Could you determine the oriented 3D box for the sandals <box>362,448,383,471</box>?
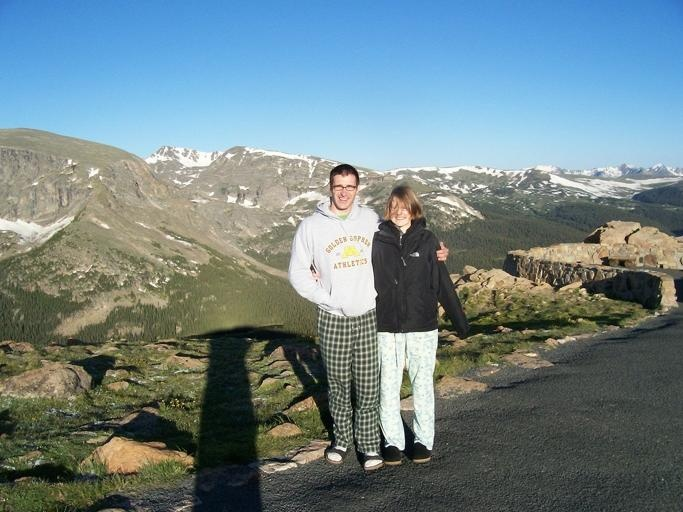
[{"bbox_3d":[0.545,3.469,8.555,0.341,0.226,0.296,-2,4,3],"label":"sandals"}]

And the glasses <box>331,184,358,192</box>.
[{"bbox_3d":[0.058,-1.124,8.594,0.432,0.129,0.161,-3,4,-11],"label":"glasses"}]
